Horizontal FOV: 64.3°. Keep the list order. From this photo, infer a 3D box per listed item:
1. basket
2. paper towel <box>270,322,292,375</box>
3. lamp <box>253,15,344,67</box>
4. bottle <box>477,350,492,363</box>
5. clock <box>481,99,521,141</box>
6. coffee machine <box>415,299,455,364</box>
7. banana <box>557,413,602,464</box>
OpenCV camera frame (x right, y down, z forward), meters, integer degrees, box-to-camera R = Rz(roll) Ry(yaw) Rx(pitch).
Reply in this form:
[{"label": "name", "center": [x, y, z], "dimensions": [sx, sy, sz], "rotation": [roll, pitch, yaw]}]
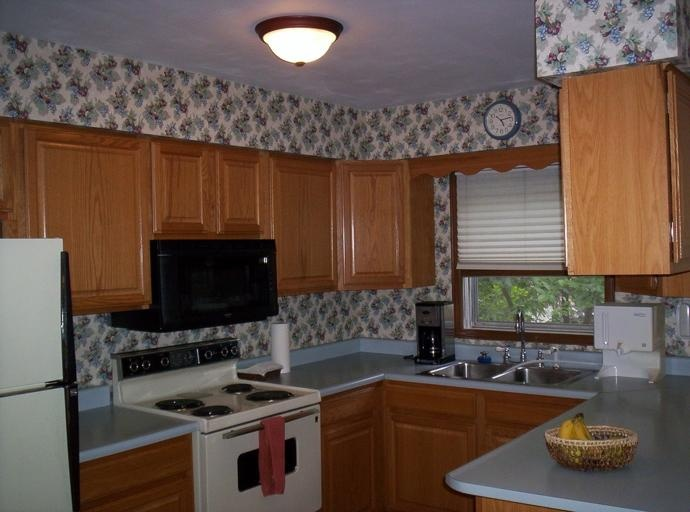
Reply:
[{"label": "basket", "center": [0.978, 0.759, 2.190], "dimensions": [0.375, 0.139, 0.250], "rotation": [-2, 1, -9]}, {"label": "paper towel", "center": [-0.480, 0.676, 4.036], "dimensions": [0.133, 0.266, 0.213], "rotation": [-2, 1, -13]}, {"label": "lamp", "center": [-0.251, -1.136, 3.009], "dimensions": [0.475, 0.178, 0.488], "rotation": [-3, 1, -25]}, {"label": "bottle", "center": [1.085, 0.782, 4.278], "dimensions": [0.107, 0.083, 0.120], "rotation": [-2, 1, 15]}, {"label": "clock", "center": [1.202, -1.043, 4.192], "dimensions": [0.329, 0.364, 0.083], "rotation": [-1, -2, 37]}, {"label": "coffee machine", "center": [0.718, 0.590, 4.345], "dimensions": [0.362, 0.468, 0.245], "rotation": [-2, 1, -8]}, {"label": "banana", "center": [0.901, 0.718, 2.126], "dimensions": [0.160, 0.122, 0.207], "rotation": [1, 0, 12]}]
